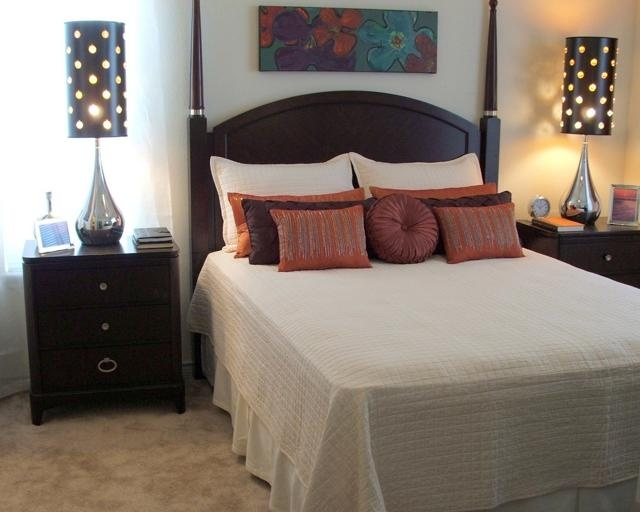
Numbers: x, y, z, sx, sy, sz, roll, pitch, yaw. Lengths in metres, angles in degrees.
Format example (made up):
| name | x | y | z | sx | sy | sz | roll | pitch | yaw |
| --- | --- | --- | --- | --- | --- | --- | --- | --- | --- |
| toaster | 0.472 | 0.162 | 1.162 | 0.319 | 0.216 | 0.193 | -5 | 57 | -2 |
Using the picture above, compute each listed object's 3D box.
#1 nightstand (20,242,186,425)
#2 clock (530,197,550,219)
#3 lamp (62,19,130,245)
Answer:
| name | x | y | z | sx | sy | sz | roll | pitch | yaw |
| --- | --- | --- | --- | --- | --- | --- | --- | --- | --- |
| nightstand | -1.095 | 0.358 | 3.016 | 0.781 | 0.803 | 0.608 | -3 | 8 | -17 |
| clock | 1.374 | -0.298 | 3.548 | 0.117 | 0.147 | 0.079 | -7 | 12 | -14 |
| lamp | -1.083 | -0.584 | 2.801 | 0.298 | 1.063 | 0.213 | -4 | 15 | -18 |
